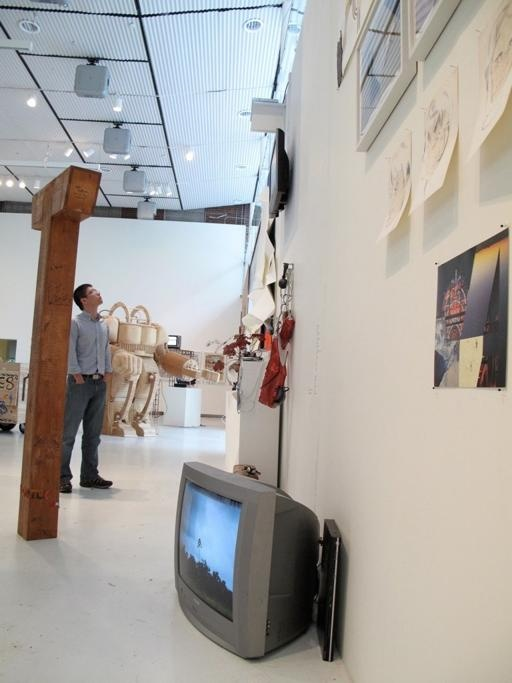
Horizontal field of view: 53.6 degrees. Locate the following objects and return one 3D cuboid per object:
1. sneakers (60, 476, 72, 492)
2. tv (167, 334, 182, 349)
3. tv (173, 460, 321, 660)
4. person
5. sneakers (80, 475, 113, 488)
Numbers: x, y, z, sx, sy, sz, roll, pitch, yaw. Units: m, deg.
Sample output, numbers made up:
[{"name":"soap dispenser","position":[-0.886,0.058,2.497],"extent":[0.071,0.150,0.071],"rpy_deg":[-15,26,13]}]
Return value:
[{"name":"sneakers","position":[-1.331,1.000,3.487],"extent":[0.038,0.072,0.133],"rpy_deg":[2,-4,-12]},{"name":"tv","position":[-2.006,0.046,12.279],"extent":[0.257,0.340,0.146],"rpy_deg":[1,-5,-11]},{"name":"tv","position":[-0.081,0.713,1.691],"extent":[0.510,0.523,0.393],"rpy_deg":[0,-4,27]},{"name":"person","position":[-1.230,0.340,3.633],"extent":[0.303,1.465,0.548],"rpy_deg":[1,-3,11]},{"name":"sneakers","position":[-1.189,1.014,3.721],"extent":[0.206,0.136,0.106],"rpy_deg":[1,-8,-2]}]
